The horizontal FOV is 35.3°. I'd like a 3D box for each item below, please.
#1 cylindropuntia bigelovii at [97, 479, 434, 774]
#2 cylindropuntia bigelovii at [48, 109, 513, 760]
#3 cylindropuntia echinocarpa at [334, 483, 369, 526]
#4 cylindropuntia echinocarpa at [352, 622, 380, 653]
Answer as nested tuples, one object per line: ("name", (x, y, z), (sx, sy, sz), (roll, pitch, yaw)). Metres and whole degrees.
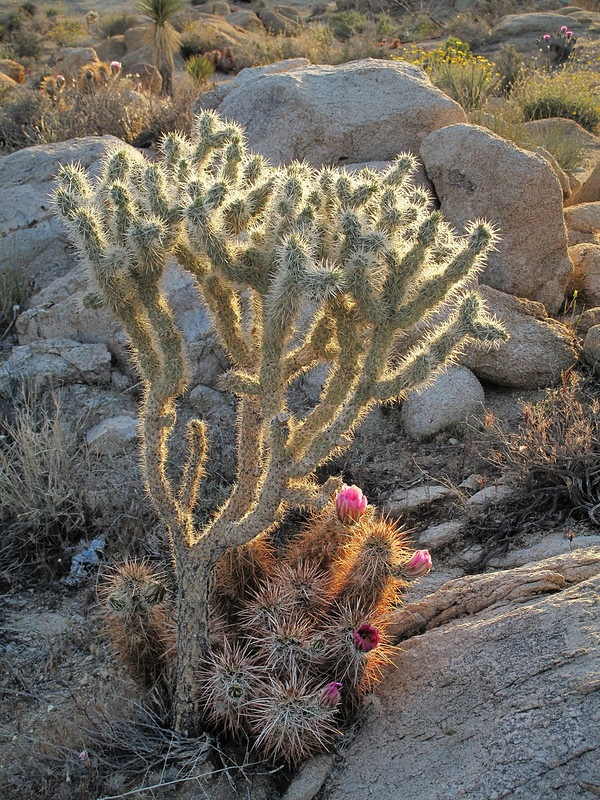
("cylindropuntia bigelovii", (0.029, 0.905, 4.310), (1.425, 1.139, 0.988), (-13, 34, 39))
("cylindropuntia bigelovii", (-0.080, 0.039, 4.154), (1.550, 2.292, 1.414), (-12, 35, -12))
("cylindropuntia echinocarpa", (0.209, 0.435, 4.117), (0.162, 0.178, 0.146), (-3, 26, 1))
("cylindropuntia echinocarpa", (0.265, 0.955, 3.843), (0.106, 0.095, 0.111), (13, 27, 43))
